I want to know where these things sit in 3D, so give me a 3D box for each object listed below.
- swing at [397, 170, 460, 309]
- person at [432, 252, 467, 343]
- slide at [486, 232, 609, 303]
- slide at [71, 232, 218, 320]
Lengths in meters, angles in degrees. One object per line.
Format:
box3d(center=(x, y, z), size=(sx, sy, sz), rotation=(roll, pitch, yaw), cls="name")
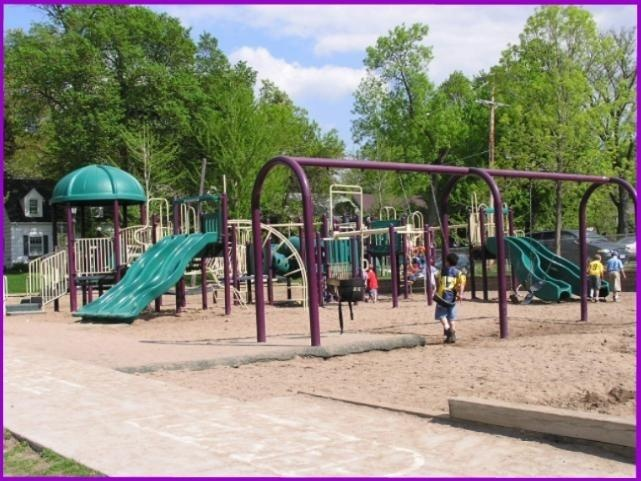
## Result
box3d(center=(4.658, -0.355, 32.708), size=(1.820, 8.638, 1.832), rotation=(-5, 7, -33), cls="swing")
box3d(center=(2.570, 1.096, 15.050), size=(0.545, 1.647, 0.789), rotation=(0, 0, 16), cls="person")
box3d(center=(6.723, 1.083, 22.982), size=(2.568, 2.335, 3.411), rotation=(-1, 4, -14), cls="slide")
box3d(center=(-4.616, 0.916, 20.519), size=(2.045, 1.568, 4.195), rotation=(-5, 8, 28), cls="slide")
